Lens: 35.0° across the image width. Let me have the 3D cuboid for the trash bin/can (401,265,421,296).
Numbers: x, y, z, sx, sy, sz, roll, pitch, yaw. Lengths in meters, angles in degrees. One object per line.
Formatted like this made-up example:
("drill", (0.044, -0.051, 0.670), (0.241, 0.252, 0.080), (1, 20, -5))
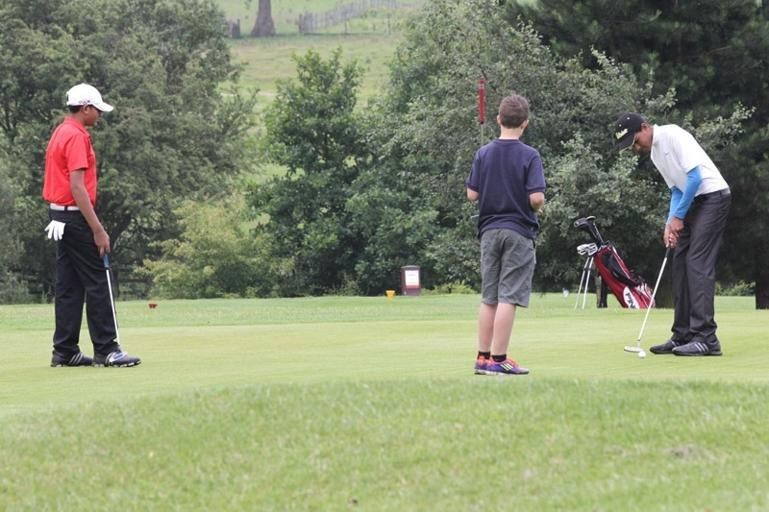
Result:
("trash bin/can", (1.093, 1.001, 50.304), (0.661, 1.160, 0.979), (0, 3, -6))

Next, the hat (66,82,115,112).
("hat", (-7.311, -3.958, 29.912), (1.297, 0.677, 0.812), (-3, 12, -15))
